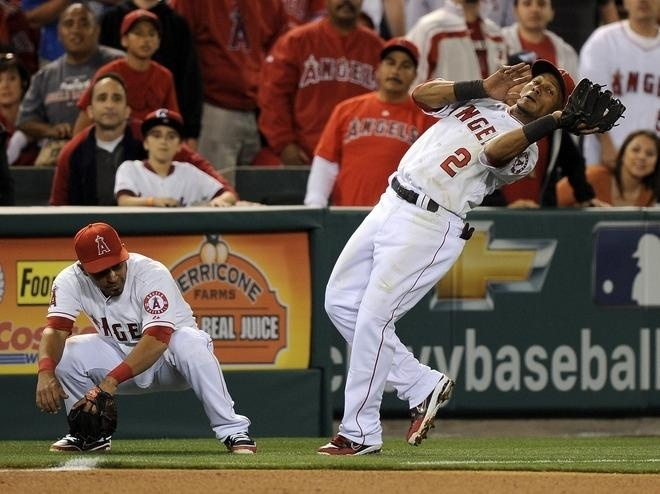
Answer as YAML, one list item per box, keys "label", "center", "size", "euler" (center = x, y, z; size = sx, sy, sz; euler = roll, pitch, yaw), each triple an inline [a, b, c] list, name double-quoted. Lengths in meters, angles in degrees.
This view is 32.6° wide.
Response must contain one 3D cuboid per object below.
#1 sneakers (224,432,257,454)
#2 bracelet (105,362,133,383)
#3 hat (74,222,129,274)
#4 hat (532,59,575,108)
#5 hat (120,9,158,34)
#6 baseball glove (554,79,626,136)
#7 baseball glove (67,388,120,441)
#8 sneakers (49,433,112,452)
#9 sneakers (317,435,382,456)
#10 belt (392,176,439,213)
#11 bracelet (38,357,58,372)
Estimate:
- label: "sneakers"
  center: [-0.523, 1.136, 6.579]
  size: [0.206, 0.104, 0.152]
  euler: [2, 0, 14]
- label: "bracelet"
  center: [-1.184, 0.707, 6.327]
  size: [0.102, 0.094, 0.121]
  euler: [-39, -1, -5]
- label: "hat"
  center: [-1.312, -0.011, 6.438]
  size: [0.214, 0.179, 0.303]
  euler: [-20, 25, -23]
- label: "hat"
  center: [1.348, -0.997, 6.650]
  size: [0.155, 0.286, 0.206]
  euler: [-38, 30, -19]
- label: "hat"
  center: [-1.351, -1.604, 8.041]
  size: [0.205, 0.176, 0.330]
  euler: [11, 5, -20]
- label: "baseball glove"
  center: [1.490, -0.789, 6.361]
  size: [0.392, 0.309, 0.175]
  euler: [2, 0, -20]
- label: "baseball glove"
  center: [-1.340, 0.970, 6.398]
  size: [0.237, 0.323, 0.154]
  euler: [0, 18, -7]
- label: "sneakers"
  center: [-1.442, 1.136, 6.583]
  size: [0.357, 0.157, 0.132]
  euler: [4, -7, -1]
- label: "sneakers"
  center: [0.125, 1.115, 6.477]
  size: [0.338, 0.158, 0.132]
  euler: [3, -5, -6]
- label: "belt"
  center: [0.496, -0.306, 6.563]
  size: [0.311, 0.197, 0.098]
  euler: [2, 1, 42]
- label: "bracelet"
  center: [-1.621, 0.670, 6.439]
  size: [0.078, 0.065, 0.079]
  euler: [-4, -9, 9]
